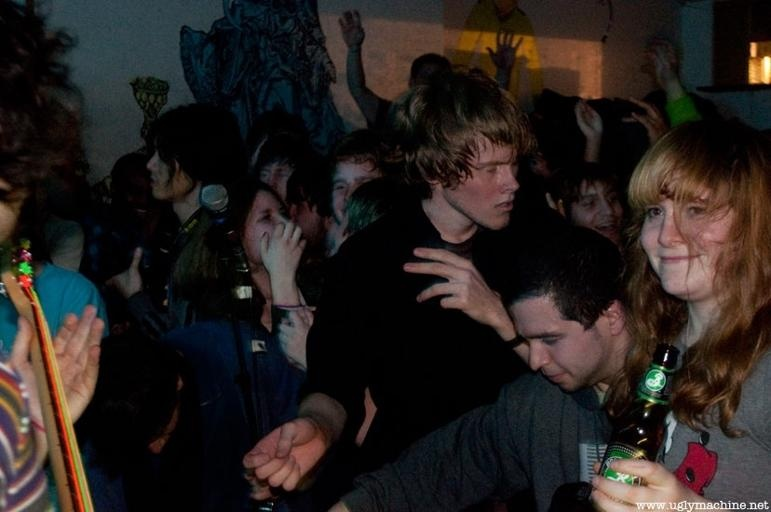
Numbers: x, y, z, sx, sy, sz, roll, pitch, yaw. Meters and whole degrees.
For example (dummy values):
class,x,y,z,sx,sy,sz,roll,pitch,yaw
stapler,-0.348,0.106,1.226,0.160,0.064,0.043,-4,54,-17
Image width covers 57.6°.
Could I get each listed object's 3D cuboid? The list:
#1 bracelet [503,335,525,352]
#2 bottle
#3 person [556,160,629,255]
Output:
class,x,y,z,sx,sy,sz,roll,pitch,yaw
bracelet,0.610,0.404,3.307,0.081,0.029,0.074,-19,11,9
bottle,0.896,0.532,2.467,0.230,0.494,0.409,3,10,24
person,1.345,-0.308,4.656,0.454,0.685,0.475,-5,7,34
